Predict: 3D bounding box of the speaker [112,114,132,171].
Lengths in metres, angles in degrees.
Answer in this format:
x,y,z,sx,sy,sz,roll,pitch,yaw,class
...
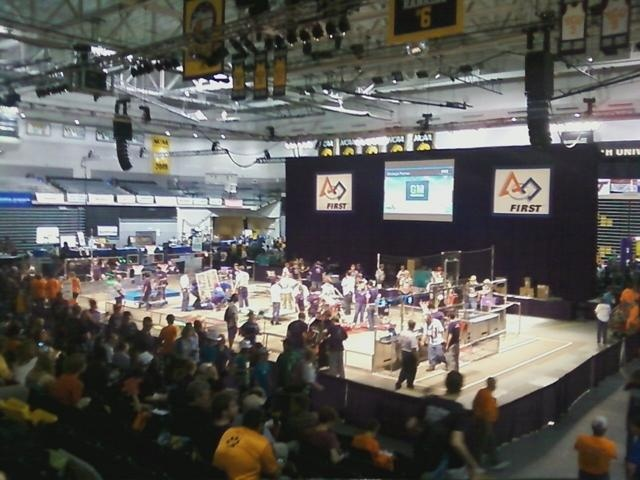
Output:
x,y,z,sx,sy,sz,roll,pitch,yaw,class
-6.385,-3.192,16.683,0.509,1.765,1.219,-2,2,-21,speaker

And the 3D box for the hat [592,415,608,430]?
x,y,z,sx,sy,sz,roll,pitch,yaw,class
3.469,2.269,6.389,0.137,0.185,0.183,-4,41,36,hat

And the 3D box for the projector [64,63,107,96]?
x,y,z,sx,sy,sz,roll,pitch,yaw,class
-6.296,-4.417,13.872,1.024,0.818,0.768,-2,2,-24,projector

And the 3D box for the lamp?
x,y,z,sx,sy,sz,roll,pitch,yaw,class
-0.631,-4.859,11.649,2.799,0.574,0.394,-9,22,-22,lamp

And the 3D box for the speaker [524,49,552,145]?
x,y,z,sx,sy,sz,roll,pitch,yaw,class
4.657,-3.007,10.869,0.507,1.927,0.847,0,3,24,speaker
